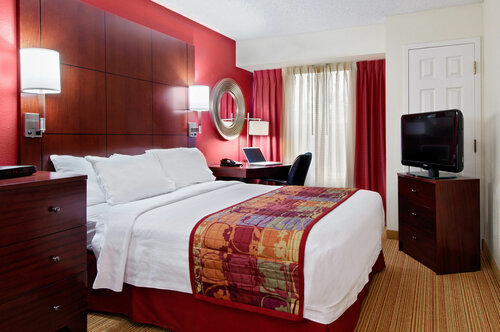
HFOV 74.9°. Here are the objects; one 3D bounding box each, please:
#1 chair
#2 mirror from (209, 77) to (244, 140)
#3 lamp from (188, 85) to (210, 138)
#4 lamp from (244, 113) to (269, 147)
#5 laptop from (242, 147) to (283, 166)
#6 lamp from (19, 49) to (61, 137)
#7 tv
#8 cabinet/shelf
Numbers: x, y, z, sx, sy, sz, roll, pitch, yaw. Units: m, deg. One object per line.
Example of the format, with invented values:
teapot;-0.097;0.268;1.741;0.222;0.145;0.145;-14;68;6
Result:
chair;0.631;0.027;5.118;0.583;0.698;0.599;3;5;23
mirror;-0.359;-0.993;5.756;0.092;1.078;1.112;3;7;29
lamp;-0.781;-0.812;4.872;0.307;0.748;0.410;-2;12;-11
lamp;0.141;-0.655;6.118;0.425;0.629;0.617;0;11;-1
laptop;0.143;-0.166;5.555;0.403;0.264;0.437;-1;2;31
lamp;-1.978;-0.675;3.084;0.350;0.815;0.271;-7;13;-31
tv;2.193;-0.251;3.961;0.195;0.801;0.891;-8;7;-14
cabinet/shelf;2.163;0.651;3.792;0.924;1.068;0.506;9;14;37
